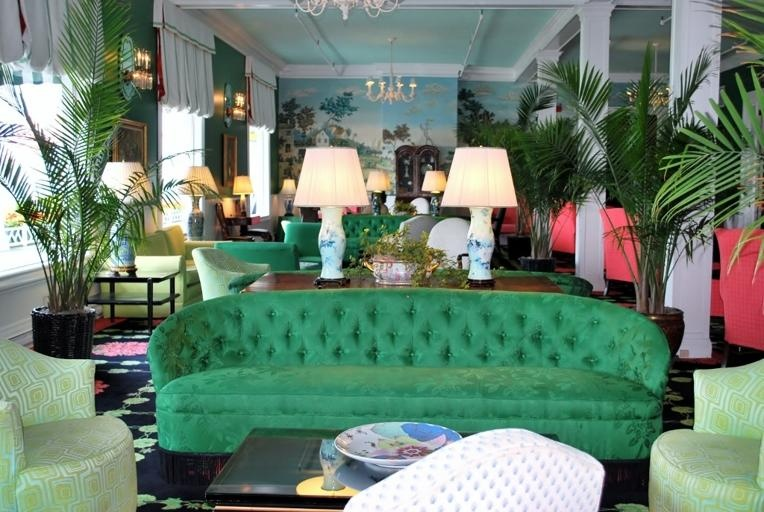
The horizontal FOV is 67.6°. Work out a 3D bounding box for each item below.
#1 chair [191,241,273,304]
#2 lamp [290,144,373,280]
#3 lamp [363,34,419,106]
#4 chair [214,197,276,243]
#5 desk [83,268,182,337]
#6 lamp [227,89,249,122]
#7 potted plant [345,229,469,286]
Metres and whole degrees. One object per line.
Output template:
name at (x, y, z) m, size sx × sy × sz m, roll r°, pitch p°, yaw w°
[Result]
chair at (-1.362, 0.138, 5.006) m, size 0.641 × 0.709 × 0.582 m, roll 0°, pitch 4°, yaw 4°
lamp at (-0.332, -0.287, 3.813) m, size 0.467 × 0.925 × 0.397 m, roll 0°, pitch 3°, yaw -1°
lamp at (0.207, -3.734, 11.932) m, size 1.376 × 1.550 × 1.358 m, roll 0°, pitch 3°, yaw 0°
chair at (-2.464, -0.624, 10.115) m, size 0.912 × 1.266 × 0.772 m, roll 0°, pitch 4°, yaw 0°
desk at (-2.514, 0.366, 5.833) m, size 0.869 × 0.527 × 0.733 m, roll 0°, pitch -1°, yaw 6°
lamp at (-2.629, -2.742, 10.431) m, size 0.272 × 0.664 × 1.101 m, roll -1°, pitch 2°, yaw -6°
potted plant at (0.115, 0.034, 3.863) m, size 0.562 × 0.246 × 0.464 m, roll 7°, pitch 3°, yaw 33°
